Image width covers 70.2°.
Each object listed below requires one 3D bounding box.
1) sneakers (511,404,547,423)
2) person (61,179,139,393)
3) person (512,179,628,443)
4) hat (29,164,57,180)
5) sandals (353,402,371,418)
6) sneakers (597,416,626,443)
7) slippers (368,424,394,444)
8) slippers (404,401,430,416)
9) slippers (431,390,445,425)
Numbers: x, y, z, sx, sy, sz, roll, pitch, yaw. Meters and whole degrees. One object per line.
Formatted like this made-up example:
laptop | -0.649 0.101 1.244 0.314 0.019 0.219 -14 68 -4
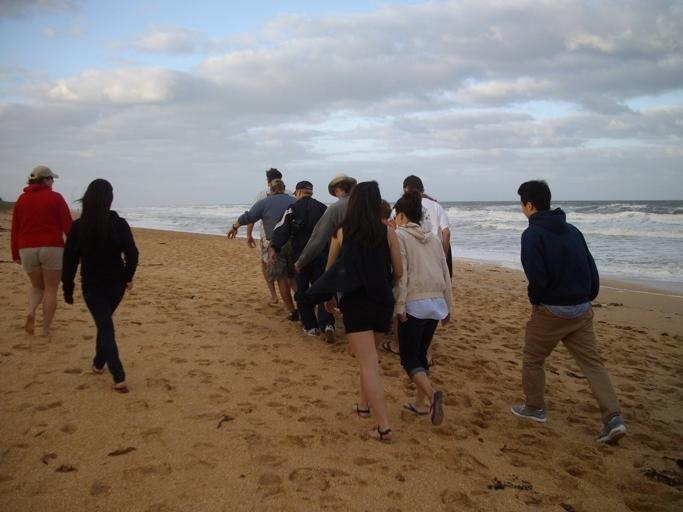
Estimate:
sneakers | 1.880 1.558 4.924 0.346 0.162 0.130 10 10 20
person | -2.354 0.311 4.789 0.674 2.078 0.396 -8 11 -29
person | 2.181 0.634 4.704 0.945 2.155 0.481 3 11 30
hat | -3.373 -0.933 5.486 0.218 0.142 0.490 -9 11 -38
sandals | 0.206 1.487 4.761 0.099 0.065 0.203 -1 11 -10
sneakers | 2.454 1.640 4.555 0.142 0.385 0.174 8 51 -11
slippers | 0.355 1.611 4.431 0.125 0.101 0.224 3 0 -41
slippers | 0.741 1.527 4.877 0.114 0.069 0.213 -2 10 -33
slippers | 0.867 1.342 4.354 0.123 0.306 0.121 0 -6 -13
